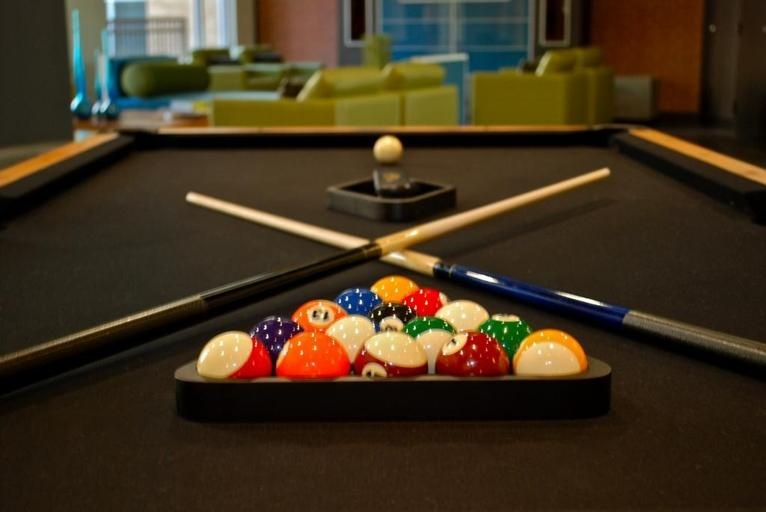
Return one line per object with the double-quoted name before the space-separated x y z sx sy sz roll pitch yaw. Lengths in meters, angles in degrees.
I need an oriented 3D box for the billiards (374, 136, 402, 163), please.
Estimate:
"billiards" 0.025 -0.514 3.256 0.129 0.135 0.130 -5 3 0
